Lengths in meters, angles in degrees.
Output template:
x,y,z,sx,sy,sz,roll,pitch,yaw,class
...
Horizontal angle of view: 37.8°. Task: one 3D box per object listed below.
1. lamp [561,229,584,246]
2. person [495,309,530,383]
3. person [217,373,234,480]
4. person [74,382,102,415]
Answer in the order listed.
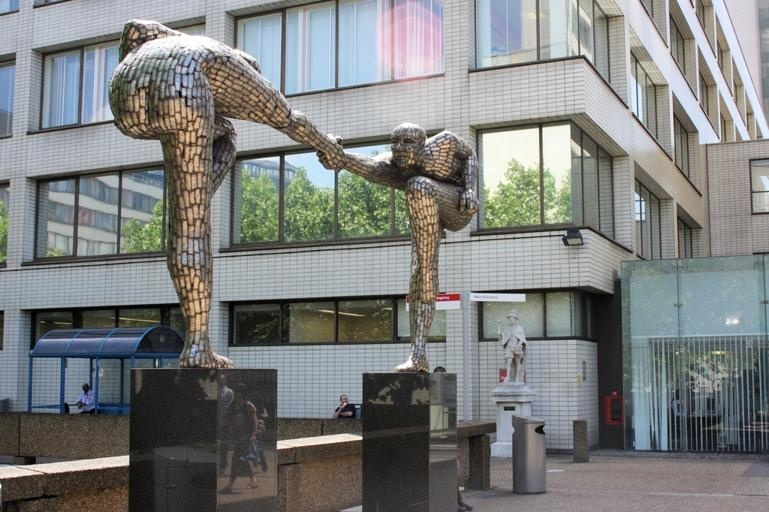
x,y,z,sx,sy,sz,roll,pitch,yaw,class
5.287,-0.444,31.586,0.544,0.479,0.468,0,-9,0,lamp
3.604,2.620,31.732,0.738,2.057,0.590,-2,-7,5,person
-2.540,2.684,17.777,0.241,1.574,0.187,1,-8,-19,person
-9.030,4.359,34.077,0.655,1.584,0.984,-2,-23,-6,person
